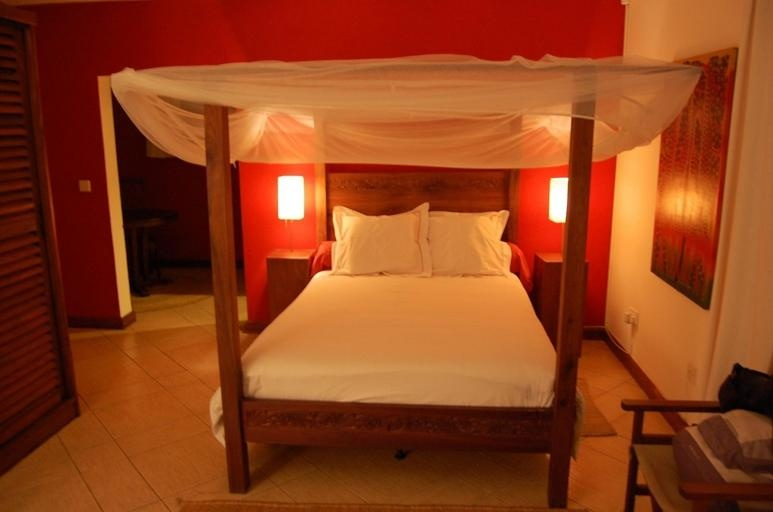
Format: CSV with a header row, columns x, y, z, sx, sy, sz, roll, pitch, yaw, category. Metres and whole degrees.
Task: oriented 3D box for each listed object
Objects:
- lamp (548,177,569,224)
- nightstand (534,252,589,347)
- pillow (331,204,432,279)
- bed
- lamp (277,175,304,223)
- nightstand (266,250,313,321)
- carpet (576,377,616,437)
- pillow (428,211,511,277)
x,y,z,sx,sy,sz,roll,pitch,yaw,category
1.496,-0.509,5.206,0.118,0.375,0.356,-1,-6,8,lamp
1.233,0.302,4.286,0.397,0.694,0.728,3,12,12,nightstand
-0.048,-0.116,5.280,0.862,0.598,0.255,0,-6,-1,pillow
0.197,0.391,4.351,2.353,1.191,0.405,0,15,3,bed
-0.883,-0.544,5.498,0.230,0.386,0.183,1,-6,-13,lamp
-0.886,0.260,5.480,0.399,0.599,0.288,0,-6,-8,nightstand
1.533,1.118,4.375,0.233,0.028,0.620,-1,29,6,carpet
0.716,-0.098,5.232,0.604,0.558,0.174,1,-9,2,pillow
